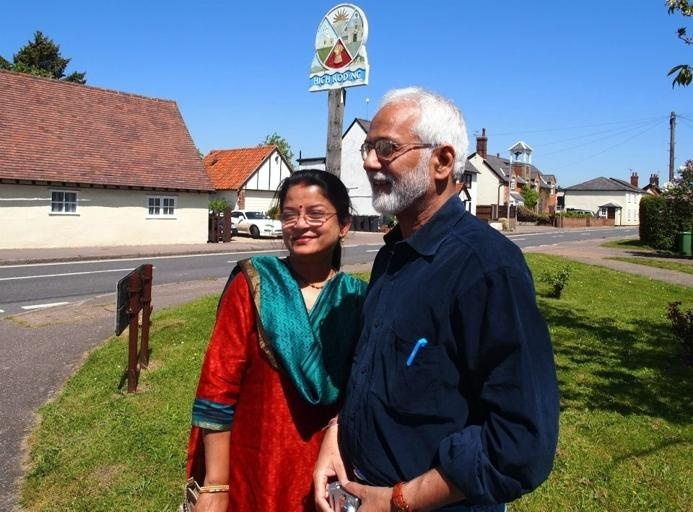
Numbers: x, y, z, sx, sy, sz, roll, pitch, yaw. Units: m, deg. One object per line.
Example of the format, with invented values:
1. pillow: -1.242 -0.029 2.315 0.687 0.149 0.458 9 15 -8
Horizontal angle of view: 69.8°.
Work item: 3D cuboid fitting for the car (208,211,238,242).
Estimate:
1. car: -6.500 -1.558 26.668 1.397 2.175 1.369 5 4 45
